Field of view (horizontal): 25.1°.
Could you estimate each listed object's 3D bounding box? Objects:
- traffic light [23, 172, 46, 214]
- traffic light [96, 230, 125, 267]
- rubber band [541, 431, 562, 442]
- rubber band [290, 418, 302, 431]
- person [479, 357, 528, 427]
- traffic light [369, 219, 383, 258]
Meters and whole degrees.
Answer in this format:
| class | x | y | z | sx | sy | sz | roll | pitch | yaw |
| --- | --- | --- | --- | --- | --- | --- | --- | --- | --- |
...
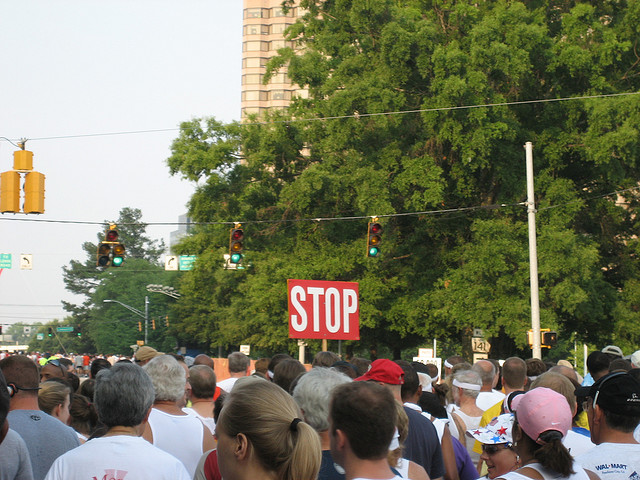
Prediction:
| class | x | y | z | sx | sy | sz | roll | pitch | yaw |
| --- | --- | --- | --- | --- | --- | --- | --- | --- | --- |
| traffic light | -9.922 | -1.598 | 49.439 | 0.745 | 1.316 | 0.626 | 0 | -1 | -17 |
| traffic light | -7.840 | 0.314 | 53.645 | 0.951 | 1.451 | 0.892 | 0 | -9 | -8 |
| rubber band | 6.300 | 5.348 | 38.918 | 0.391 | 0.147 | 0.285 | -17 | -16 | 31 |
| rubber band | -0.652 | 4.957 | 38.402 | 0.308 | 0.252 | 0.229 | -25 | 2 | 42 |
| person | 5.361 | 4.501 | 41.753 | 1.999 | 1.504 | 0.979 | -2 | 12 | -5 |
| traffic light | 2.090 | -0.067 | 54.211 | 0.460 | 1.463 | 1.019 | -2 | -9 | 2 |
